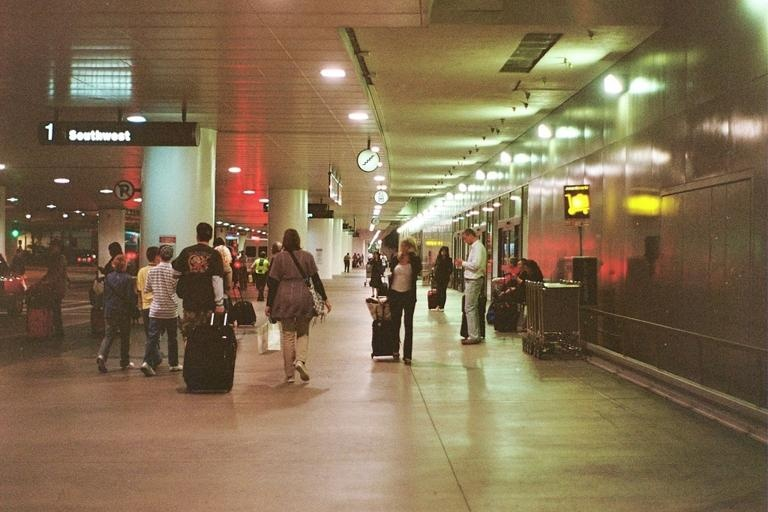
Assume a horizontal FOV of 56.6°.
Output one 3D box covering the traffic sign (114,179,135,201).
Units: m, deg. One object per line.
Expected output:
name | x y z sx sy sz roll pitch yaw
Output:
traffic sign | -8.258 -2.105 22.751 0.472 0.619 1.665 -2 8 -16

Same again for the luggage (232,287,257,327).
luggage | -3.864 1.366 19.694 0.585 1.137 0.649 -8 2 18

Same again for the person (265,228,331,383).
person | -1.387 0.817 11.738 0.986 2.284 1.271 0 0 12

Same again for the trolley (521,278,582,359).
trolley | 3.268 1.181 14.041 0.958 1.537 1.500 1 -1 -3

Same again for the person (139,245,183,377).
person | -3.627 0.871 11.889 0.720 2.249 0.702 -1 -7 -8

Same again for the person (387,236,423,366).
person | 0.361 0.814 13.039 0.509 2.277 0.702 2 8 12

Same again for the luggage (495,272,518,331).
luggage | 2.967 1.147 17.352 0.558 1.364 1.422 0 -1 6

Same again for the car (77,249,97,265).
car | -29.620 0.080 70.898 1.863 1.203 3.228 -4 9 -27

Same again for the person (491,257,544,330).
person | 3.105 0.928 17.024 1.235 1.893 1.055 -2 -4 9

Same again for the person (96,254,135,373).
person | -4.627 0.910 12.401 0.550 2.216 0.652 -5 -6 29

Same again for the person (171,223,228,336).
person | -3.005 0.364 11.638 0.766 1.885 0.766 0 -3 -15

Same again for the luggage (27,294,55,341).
luggage | -7.562 1.322 15.612 0.603 0.848 0.491 4 9 26

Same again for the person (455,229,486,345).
person | 1.915 0.631 15.344 0.534 2.541 1.298 2 8 8

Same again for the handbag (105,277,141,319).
handbag | -4.543 0.684 12.311 0.525 0.793 0.389 -2 9 -20
